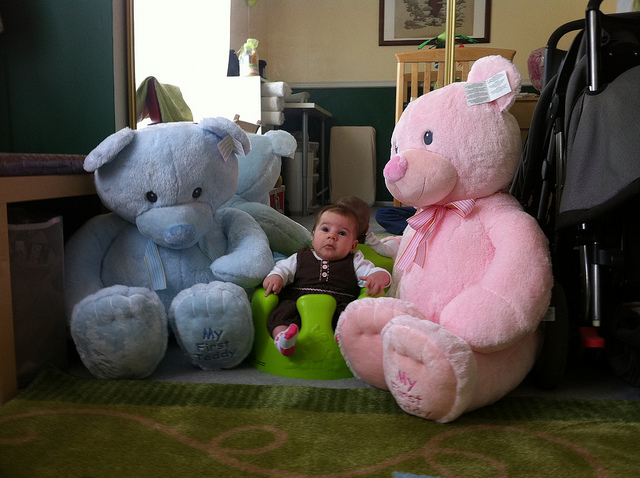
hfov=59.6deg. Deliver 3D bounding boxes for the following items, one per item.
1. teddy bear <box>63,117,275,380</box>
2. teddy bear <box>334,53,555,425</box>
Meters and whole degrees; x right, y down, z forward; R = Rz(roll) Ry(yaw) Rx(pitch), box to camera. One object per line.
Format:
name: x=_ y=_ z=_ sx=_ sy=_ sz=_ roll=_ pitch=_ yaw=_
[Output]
teddy bear: x=-0.408 y=0.009 z=1.529 sx=0.562 sy=0.659 sz=0.397 roll=-7 pitch=16 yaw=-25
teddy bear: x=0.299 y=-0.009 z=1.315 sx=0.479 sy=0.817 sz=0.407 roll=6 pitch=16 yaw=21
